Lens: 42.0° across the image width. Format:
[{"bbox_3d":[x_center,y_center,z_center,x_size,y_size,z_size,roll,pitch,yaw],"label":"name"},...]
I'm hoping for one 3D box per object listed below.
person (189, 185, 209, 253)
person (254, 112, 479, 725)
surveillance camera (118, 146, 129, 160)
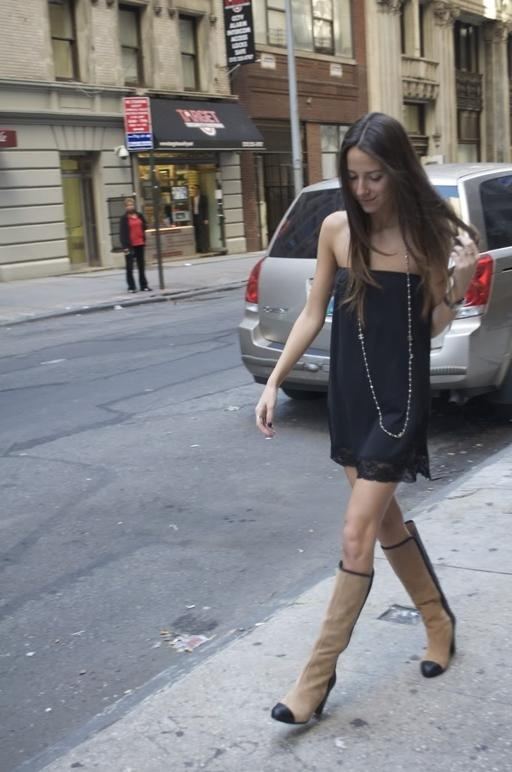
[{"bbox_3d":[-2.208,-6.517,26.654,0.260,2.436,0.914,6,16,33],"label":"person"},{"bbox_3d":[0.321,0.093,1.773,0.590,1.560,0.525,-3,14,-1],"label":"person"},{"bbox_3d":[-4.600,-7.983,22.954,0.385,0.295,0.524,-14,6,3],"label":"surveillance camera"}]
